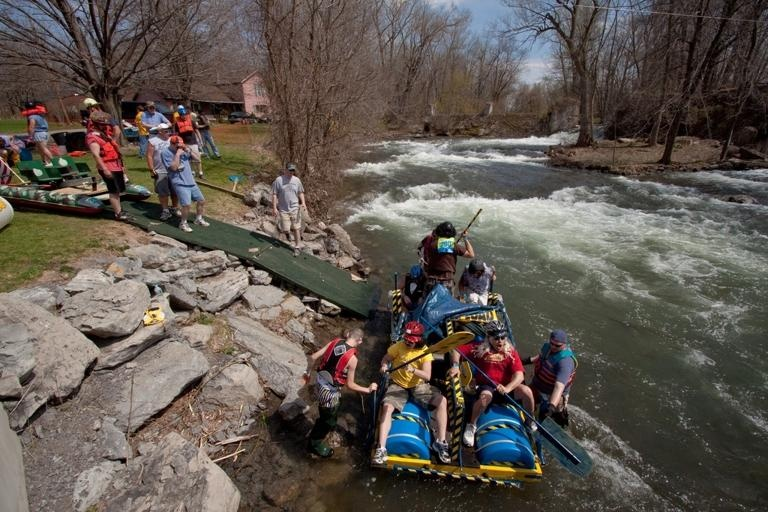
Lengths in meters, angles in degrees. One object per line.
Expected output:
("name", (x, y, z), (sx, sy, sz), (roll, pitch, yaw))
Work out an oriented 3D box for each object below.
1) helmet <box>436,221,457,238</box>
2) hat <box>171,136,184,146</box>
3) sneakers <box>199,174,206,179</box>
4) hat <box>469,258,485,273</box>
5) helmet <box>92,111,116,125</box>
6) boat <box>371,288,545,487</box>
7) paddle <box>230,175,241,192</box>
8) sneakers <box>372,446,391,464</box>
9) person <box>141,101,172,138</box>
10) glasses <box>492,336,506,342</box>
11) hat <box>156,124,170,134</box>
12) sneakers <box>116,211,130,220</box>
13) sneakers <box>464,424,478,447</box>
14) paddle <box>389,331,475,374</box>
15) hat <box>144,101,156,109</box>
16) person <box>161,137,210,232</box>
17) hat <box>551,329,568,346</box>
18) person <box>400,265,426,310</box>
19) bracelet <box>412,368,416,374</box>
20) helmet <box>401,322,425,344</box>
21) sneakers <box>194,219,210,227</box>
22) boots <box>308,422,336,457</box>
("helmet", (1.474, -0.640, 10.940), (0.476, 0.357, 0.370), (3, 23, 4))
("hat", (-5.209, -2.882, 11.275), (0.270, 0.231, 0.244), (-13, 27, -30))
("sneakers", (-6.507, -2.824, 16.054), (0.230, 0.125, 0.189), (7, 6, -15))
("hat", (2.276, 0.225, 10.958), (0.300, 0.310, 0.359), (-2, 15, 7))
("helmet", (-7.065, -3.438, 11.223), (0.345, 0.306, 0.443), (18, 28, 34))
("boat", (1.610, 2.899, 10.036), (2.704, 1.890, 3.895), (4, 59, 0))
("paddle", (-5.350, -2.578, 16.098), (0.418, 0.038, 1.187), (3, 24, -15))
("sneakers", (-0.075, 3.827, 8.602), (0.300, 0.298, 0.166), (2, 25, 2))
("person", (-7.721, -4.521, 15.112), (0.906, 1.285, 0.736), (-17, 7, -38))
("glasses", (2.324, 1.680, 9.027), (0.153, 0.141, 0.042), (-6, 44, 10))
("hat", (-5.638, -3.204, 11.447), (0.297, 0.306, 0.523), (-8, 24, -20))
("sneakers", (-6.944, -1.056, 11.916), (0.366, 0.143, 0.208), (-12, -11, -33))
("sneakers", (1.717, 3.547, 8.890), (0.181, 0.215, 0.468), (11, 61, -12))
("paddle", (1.008, 1.990, 9.167), (0.275, 1.962, 0.194), (39, 36, -28))
("hat", (-7.576, -4.859, 14.516), (0.397, 0.104, 0.376), (1, 7, -7))
("person", (-5.241, -1.888, 11.775), (0.846, 2.462, 1.127), (-6, 26, -15))
("hat", (3.625, 1.660, 9.311), (0.278, 0.205, 0.342), (8, 18, 12))
("person", (0.713, 0.737, 11.084), (0.392, 0.895, 0.690), (23, -13, -35))
("bracelet", (0.599, 2.294, 8.974), (0.070, 0.066, 0.024), (-3, -7, 37))
("helmet", (0.589, 1.541, 9.075), (0.376, 0.388, 0.459), (0, -9, 32))
("sneakers", (-5.016, -0.901, 12.368), (0.431, 0.181, 0.164), (-1, 55, -14))
("boots", (-1.262, 3.687, 8.997), (0.577, 0.596, 0.289), (2, 9, 11))
